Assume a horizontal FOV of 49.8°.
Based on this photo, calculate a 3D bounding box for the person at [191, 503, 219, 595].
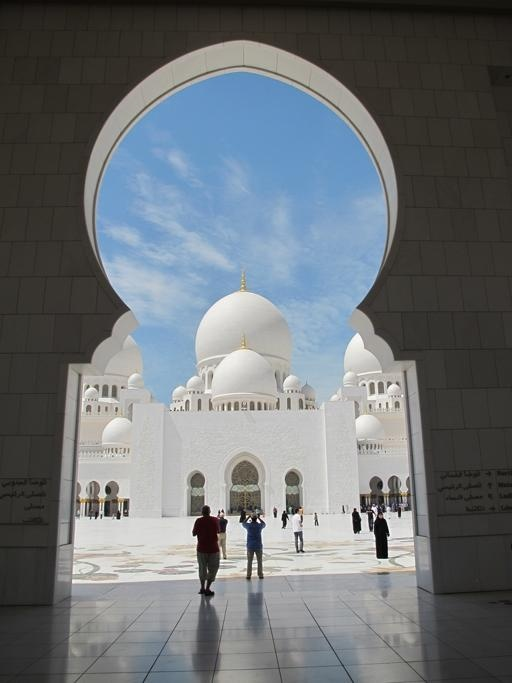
[{"bbox_3d":[-0.484,2.044,5.445,0.241,0.806,0.727,-2,-14,-6],"label":"person"}]

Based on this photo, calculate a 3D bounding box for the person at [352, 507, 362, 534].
[{"bbox_3d":[2.521,4.549,13.925,0.197,0.625,0.858,-5,-14,6],"label":"person"}]
